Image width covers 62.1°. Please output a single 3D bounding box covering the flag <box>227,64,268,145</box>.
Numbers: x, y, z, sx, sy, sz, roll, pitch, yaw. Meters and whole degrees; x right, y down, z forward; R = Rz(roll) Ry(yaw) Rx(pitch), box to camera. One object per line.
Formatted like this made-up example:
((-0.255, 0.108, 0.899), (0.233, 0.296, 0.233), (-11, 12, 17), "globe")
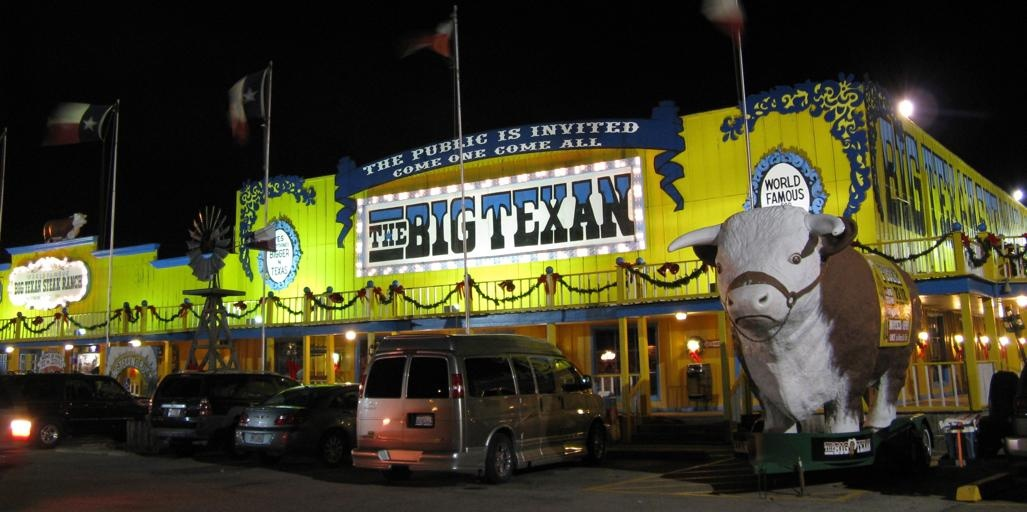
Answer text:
((-12.706, -7.242, 41.274), (2.244, 3.538, 0.805), (0, 8, 21), "flag")
